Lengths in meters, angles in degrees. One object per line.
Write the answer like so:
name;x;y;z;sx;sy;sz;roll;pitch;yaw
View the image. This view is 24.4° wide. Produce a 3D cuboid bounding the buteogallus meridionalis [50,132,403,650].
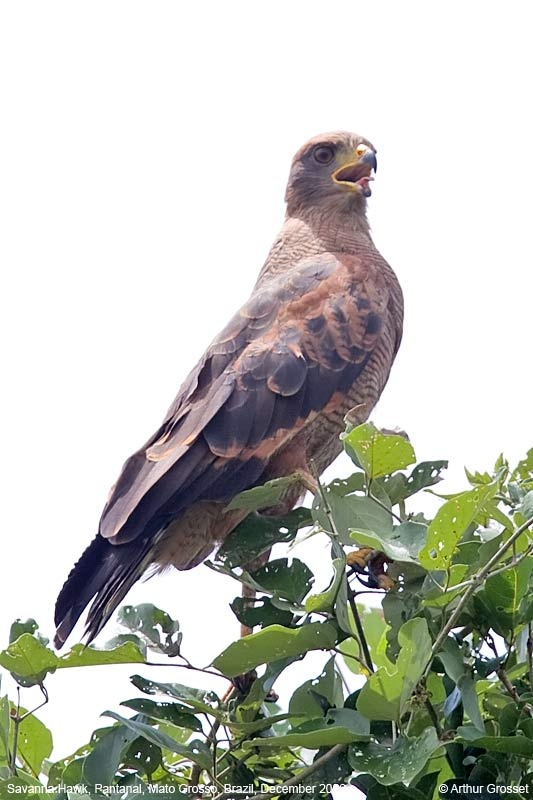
buteogallus meridionalis;-0.077;-0.068;2.682;0.841;1.098;0.451;-9;-19;-7
